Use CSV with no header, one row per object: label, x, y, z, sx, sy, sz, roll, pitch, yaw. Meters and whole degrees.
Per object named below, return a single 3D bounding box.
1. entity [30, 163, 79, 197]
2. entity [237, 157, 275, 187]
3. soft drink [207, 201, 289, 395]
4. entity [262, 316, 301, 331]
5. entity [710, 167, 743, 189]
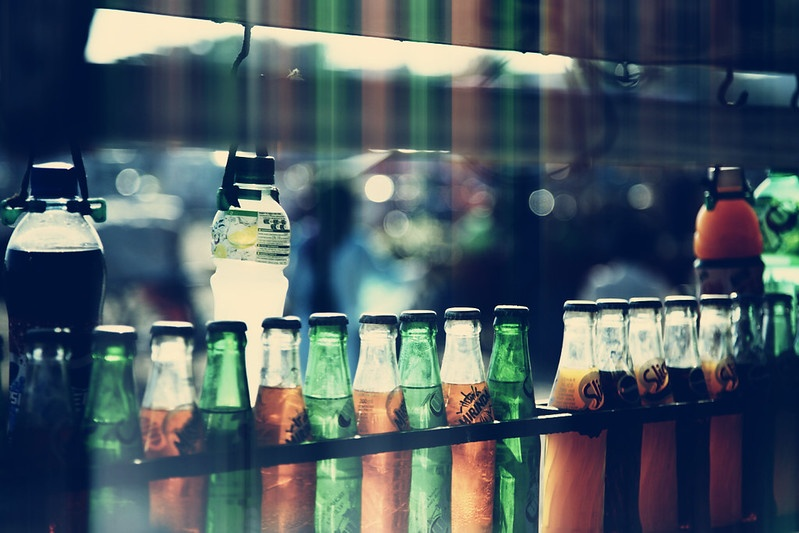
entity,-0.649,-0.156,2.233,0.063,0.052,0.068,0,0,21
entity,-0.278,-0.181,2.292,0.053,0.040,0.057,1,1,-8
soft drink,-0.290,0.071,2.311,0.152,0.391,0.162,1,-12,-10
entity,-0.221,0.111,2.250,0.077,0.030,0.052,3,-13,-17
entity,0.700,-0.187,2.539,0.045,0.054,0.047,1,0,7
